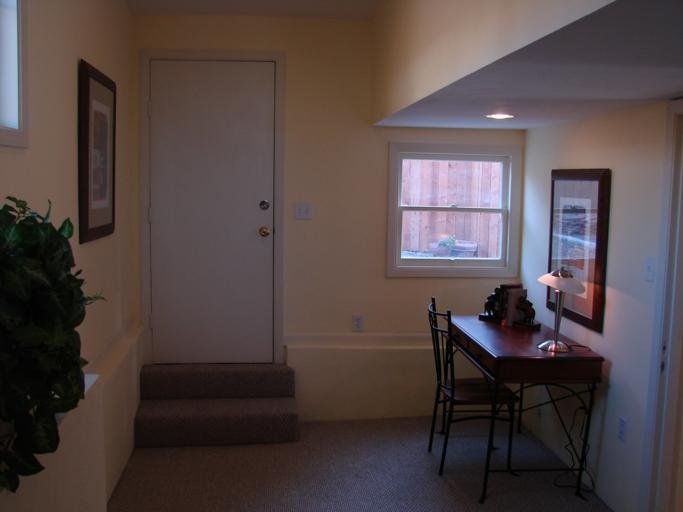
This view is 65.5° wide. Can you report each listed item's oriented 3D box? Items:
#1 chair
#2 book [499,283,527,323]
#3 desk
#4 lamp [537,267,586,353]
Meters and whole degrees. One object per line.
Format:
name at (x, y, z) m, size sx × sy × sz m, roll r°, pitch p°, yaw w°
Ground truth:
chair at (0.875, 0.856, 3.594) m, size 0.510 × 1.051 × 0.525 m, roll -1°, pitch 0°, yaw 0°
book at (1.187, 0.334, 3.672) m, size 0.233 × 0.334 × 0.169 m, roll -4°, pitch 7°, yaw -43°
desk at (1.140, 0.590, 3.663) m, size 0.799 × 1.142 × 1.629 m, roll 1°, pitch 7°, yaw -1°
lamp at (1.320, 0.328, 3.211) m, size 0.267 × 0.489 × 0.266 m, roll 0°, pitch 8°, yaw -2°
